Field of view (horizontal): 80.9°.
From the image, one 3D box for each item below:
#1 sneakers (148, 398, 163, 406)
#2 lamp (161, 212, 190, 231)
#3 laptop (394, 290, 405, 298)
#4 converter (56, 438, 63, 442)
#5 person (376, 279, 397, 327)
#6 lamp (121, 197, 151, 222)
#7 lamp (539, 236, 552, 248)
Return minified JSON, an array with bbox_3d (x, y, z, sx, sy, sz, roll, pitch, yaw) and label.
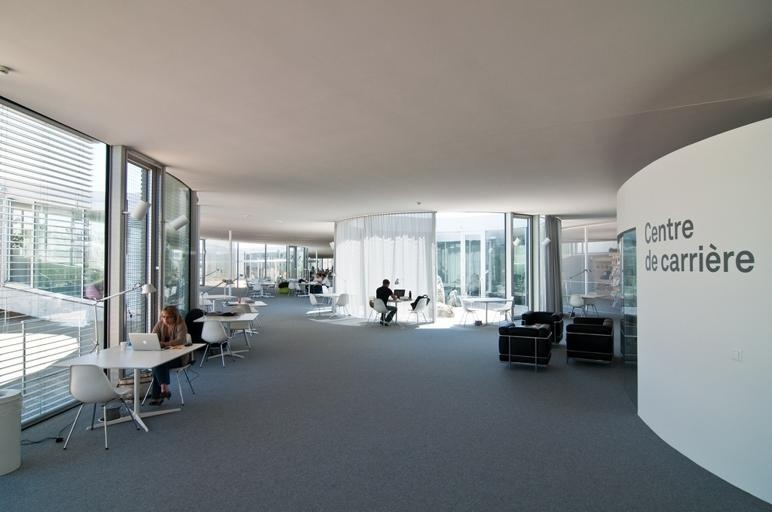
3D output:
[{"bbox_3d":[-3.438,2.183,6.735,0.156,0.061,0.086,-5,12,-22],"label":"sneakers"},{"bbox_3d":[-4.044,-0.606,8.710,0.536,0.303,0.515,-3,13,42],"label":"lamp"},{"bbox_3d":[0.410,1.166,13.685,0.272,0.193,0.209,-1,-9,10],"label":"laptop"},{"bbox_3d":[-4.052,2.293,5.616,0.059,0.058,0.060,0,2,-25],"label":"converter"},{"bbox_3d":[0.018,1.423,13.800,0.606,1.361,0.996,-1,-2,1],"label":"person"},{"bbox_3d":[-4.107,-0.733,7.412,0.531,0.418,0.297,1,-12,6],"label":"lamp"},{"bbox_3d":[5.460,-0.462,15.555,0.342,0.308,0.321,11,-13,-38],"label":"lamp"}]
